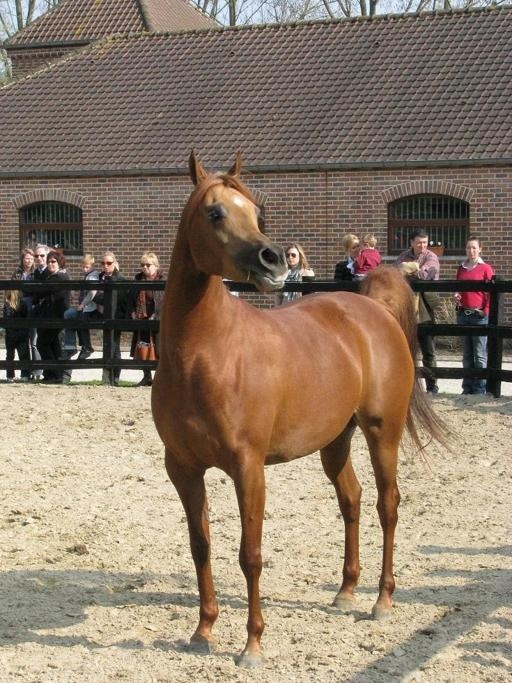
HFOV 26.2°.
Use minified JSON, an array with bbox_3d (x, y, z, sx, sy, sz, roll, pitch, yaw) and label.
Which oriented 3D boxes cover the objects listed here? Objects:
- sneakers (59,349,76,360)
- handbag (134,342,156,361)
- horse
[{"bbox_3d":[-2.333,0.171,13.701,0.132,0.155,0.378,-1,3,-26],"label":"sneakers"},{"bbox_3d":[-1.256,0.127,12.398,0.222,0.244,0.215,5,-7,-31],"label":"handbag"},{"bbox_3d":[0.165,0.286,5.487,0.752,2.414,1.296,11,16,39],"label":"horse"}]
